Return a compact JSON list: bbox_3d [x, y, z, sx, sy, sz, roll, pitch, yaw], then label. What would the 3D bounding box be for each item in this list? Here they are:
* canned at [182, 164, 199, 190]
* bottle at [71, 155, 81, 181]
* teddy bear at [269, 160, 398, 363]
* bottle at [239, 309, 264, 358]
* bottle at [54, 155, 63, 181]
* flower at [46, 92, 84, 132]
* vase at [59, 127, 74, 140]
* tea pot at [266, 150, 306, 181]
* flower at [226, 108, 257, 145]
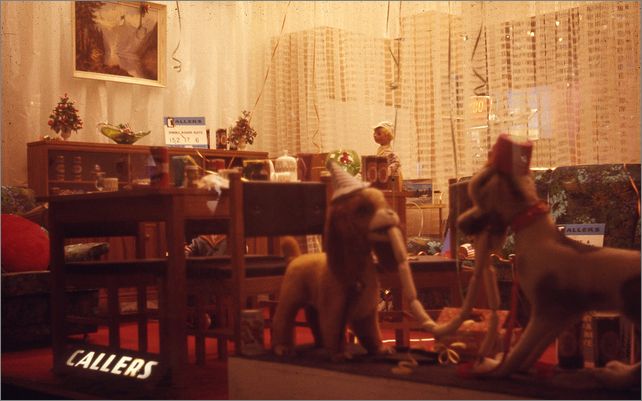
[{"bbox_3d":[-0.776,-0.138,3.421,0.113,0.179,0.116,0,-1,-11],"label":"canned"},{"bbox_3d":[-2.623,-0.342,6.154,0.090,0.262,0.081,-3,4,-36],"label":"bottle"},{"bbox_3d":[0.080,0.307,2.936,0.748,0.998,0.267,1,4,32],"label":"teddy bear"},{"bbox_3d":[-0.371,0.701,3.071,0.125,0.222,0.117,-1,3,0],"label":"bottle"},{"bbox_3d":[-2.760,-0.336,6.056,0.097,0.257,0.147,-2,3,-24],"label":"bottle"},{"bbox_3d":[-2.721,-0.911,6.189,0.408,0.421,0.382,0,-3,-15],"label":"flower"},{"bbox_3d":[-2.736,-0.701,6.106,0.123,0.148,0.121,1,2,15],"label":"vase"},{"bbox_3d":[-0.257,-0.228,4.111,0.176,0.230,0.271,0,-2,2],"label":"tea pot"},{"bbox_3d":[-0.961,-0.877,7.026,0.334,0.430,0.472,-1,3,-7],"label":"flower"}]
